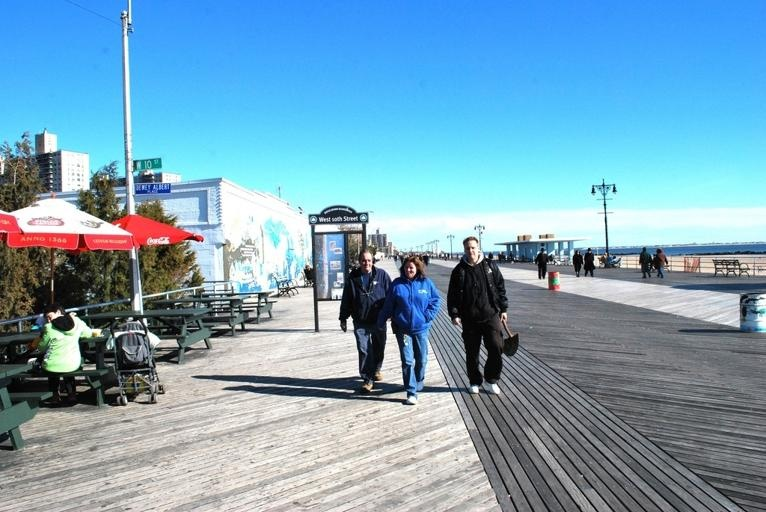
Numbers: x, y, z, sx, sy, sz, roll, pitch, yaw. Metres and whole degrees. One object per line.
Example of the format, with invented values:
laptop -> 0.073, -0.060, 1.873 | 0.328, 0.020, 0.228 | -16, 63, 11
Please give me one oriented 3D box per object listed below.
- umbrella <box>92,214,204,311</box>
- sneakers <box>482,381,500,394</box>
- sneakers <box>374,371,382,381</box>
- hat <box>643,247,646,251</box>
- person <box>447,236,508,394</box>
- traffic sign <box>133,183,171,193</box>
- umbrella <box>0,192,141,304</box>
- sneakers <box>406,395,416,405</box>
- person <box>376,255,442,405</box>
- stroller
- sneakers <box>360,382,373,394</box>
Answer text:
umbrella -> -5.360, -0.061, 13.921 | 2.194, 2.001, 2.239 | -2, 8, -9
sneakers -> 1.743, 2.101, 9.545 | 0.117, 0.125, 0.287 | -8, 2, -19
sneakers -> -0.077, 2.074, 10.293 | 0.167, 0.175, 0.170 | -2, -6, -4
hat -> 13.625, -0.358, 31.187 | 0.156, 0.186, 0.161 | -3, 9, 13
person -> 1.472, 0.902, 9.329 | 0.874, 2.598, 1.020 | 3, 14, 20
traffic sign -> -5.665, -1.652, 14.717 | 0.910, 0.266, 0.289 | -1, 13, 4
umbrella -> -5.831, -0.249, 10.996 | 1.436, 1.077, 1.440 | 4, 7, 27
sneakers -> 0.442, 2.210, 9.188 | 0.174, 0.116, 0.135 | -1, 13, 4
person -> 0.443, 1.115, 9.278 | 0.899, 2.203, 0.704 | -3, 13, -4
stroller -> -3.936, 1.705, 10.123 | 0.926, 1.373, 1.257 | -4, 2, -8
sneakers -> -0.269, 2.140, 9.829 | 0.203, 0.152, 0.337 | -2, 13, -3
